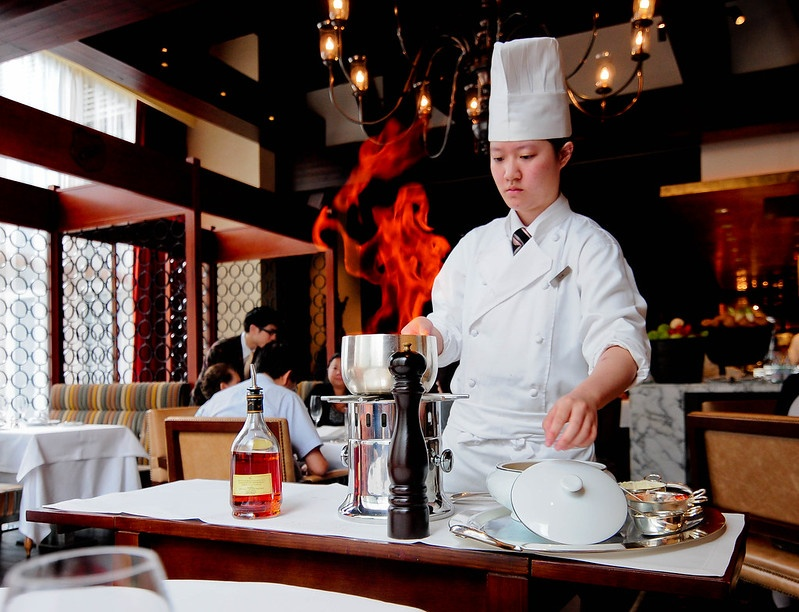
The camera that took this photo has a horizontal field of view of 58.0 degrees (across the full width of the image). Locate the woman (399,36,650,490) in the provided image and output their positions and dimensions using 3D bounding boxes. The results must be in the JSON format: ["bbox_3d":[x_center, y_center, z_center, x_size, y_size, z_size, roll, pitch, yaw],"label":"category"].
[{"bbox_3d":[0.404,-0.129,2.155,0.528,1.375,0.838,-5,4,-29],"label":"woman"}]

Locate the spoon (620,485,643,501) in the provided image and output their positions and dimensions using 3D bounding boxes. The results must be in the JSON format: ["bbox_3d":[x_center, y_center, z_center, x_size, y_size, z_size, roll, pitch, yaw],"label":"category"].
[{"bbox_3d":[0.551,0.444,1.699,0.039,0.019,0.044,6,-6,-16],"label":"spoon"}]

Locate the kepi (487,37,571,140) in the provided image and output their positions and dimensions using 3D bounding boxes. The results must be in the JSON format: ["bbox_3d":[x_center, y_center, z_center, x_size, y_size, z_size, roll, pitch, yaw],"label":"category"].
[{"bbox_3d":[0.392,-0.634,2.276,0.261,0.328,0.320,-4,0,9],"label":"kepi"}]

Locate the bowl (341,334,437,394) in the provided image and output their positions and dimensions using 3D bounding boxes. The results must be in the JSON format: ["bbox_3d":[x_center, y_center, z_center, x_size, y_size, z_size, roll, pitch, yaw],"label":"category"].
[{"bbox_3d":[-0.025,0.148,1.782,0.245,0.153,0.206,-3,3,-1],"label":"bowl"}]

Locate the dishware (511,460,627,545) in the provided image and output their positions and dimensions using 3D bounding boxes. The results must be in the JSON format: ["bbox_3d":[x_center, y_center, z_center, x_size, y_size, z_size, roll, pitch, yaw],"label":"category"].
[{"bbox_3d":[0.379,0.438,1.601,0.247,0.163,0.122,-4,3,-17],"label":"dishware"}]

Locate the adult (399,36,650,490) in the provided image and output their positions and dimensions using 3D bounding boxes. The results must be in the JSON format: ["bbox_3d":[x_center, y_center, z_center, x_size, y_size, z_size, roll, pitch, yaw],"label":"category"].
[{"bbox_3d":[0.404,-0.129,2.157,0.526,1.375,0.837,-5,4,-29],"label":"adult"}]

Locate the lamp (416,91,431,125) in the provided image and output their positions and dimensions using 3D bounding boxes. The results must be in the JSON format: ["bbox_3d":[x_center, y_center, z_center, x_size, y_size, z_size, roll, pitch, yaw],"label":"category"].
[{"bbox_3d":[0.150,-1.213,4.394,0.072,0.175,0.124,-3,14,4],"label":"lamp"}]

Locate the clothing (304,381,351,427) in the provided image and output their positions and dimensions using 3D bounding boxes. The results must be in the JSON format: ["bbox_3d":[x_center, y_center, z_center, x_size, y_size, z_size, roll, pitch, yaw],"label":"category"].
[{"bbox_3d":[-0.656,0.790,5.644,0.233,0.360,0.216,17,3,16],"label":"clothing"}]

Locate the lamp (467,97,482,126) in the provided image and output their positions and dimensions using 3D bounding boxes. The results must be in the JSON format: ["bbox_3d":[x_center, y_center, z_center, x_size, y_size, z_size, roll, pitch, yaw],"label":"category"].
[{"bbox_3d":[0.434,-1.134,4.188,0.057,0.163,0.110,-7,9,-21],"label":"lamp"}]

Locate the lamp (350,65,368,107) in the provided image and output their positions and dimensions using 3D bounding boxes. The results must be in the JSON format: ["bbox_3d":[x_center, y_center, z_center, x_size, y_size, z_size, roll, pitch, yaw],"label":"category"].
[{"bbox_3d":[-0.217,-1.212,3.928,0.088,0.140,0.237,-3,3,1],"label":"lamp"}]

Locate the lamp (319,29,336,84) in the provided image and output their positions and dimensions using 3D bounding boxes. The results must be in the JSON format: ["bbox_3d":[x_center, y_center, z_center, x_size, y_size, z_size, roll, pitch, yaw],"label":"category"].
[{"bbox_3d":[-0.377,-1.302,3.772,0.095,0.312,0.093,-6,19,-13],"label":"lamp"}]
